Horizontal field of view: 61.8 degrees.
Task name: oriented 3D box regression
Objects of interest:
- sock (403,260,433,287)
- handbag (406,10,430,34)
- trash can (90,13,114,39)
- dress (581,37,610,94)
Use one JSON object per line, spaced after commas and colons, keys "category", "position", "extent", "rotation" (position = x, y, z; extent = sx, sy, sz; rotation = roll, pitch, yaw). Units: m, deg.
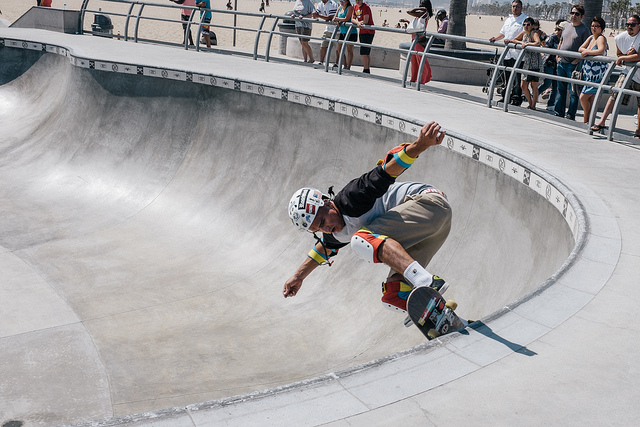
{"category": "sock", "position": [0.769, 0.484, 4.258], "extent": [0.106, 0.145, 0.223], "rotation": [42, 8, -42]}
{"category": "handbag", "position": [2.107, -4.092, 11.495], "extent": [0.427, 0.510, 0.687], "rotation": [10, 16, 6]}
{"category": "trash can", "position": [-7.467, -6.366, 18.259], "extent": [0.593, 0.784, 0.781], "rotation": [15, 21, 14]}
{"category": "dress", "position": [4.565, -2.435, 8.878], "extent": [0.381, 0.919, 1.010], "rotation": [15, 17, 20]}
